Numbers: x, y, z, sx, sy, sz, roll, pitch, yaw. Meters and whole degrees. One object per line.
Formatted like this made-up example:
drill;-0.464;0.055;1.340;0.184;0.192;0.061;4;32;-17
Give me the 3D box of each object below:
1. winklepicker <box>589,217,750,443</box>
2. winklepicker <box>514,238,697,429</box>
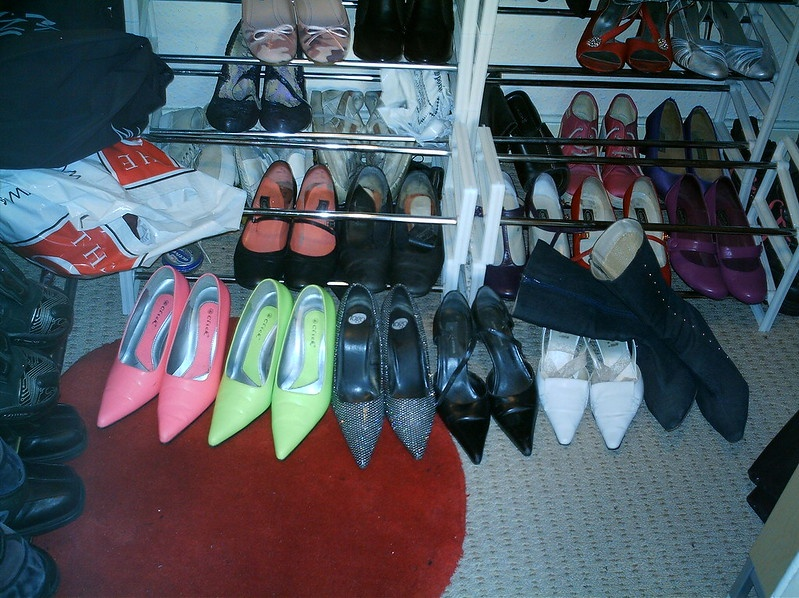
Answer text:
winklepicker;0.709;0.074;1.582;0.230;0.296;0.685;-32;81;15
winklepicker;0.538;0.059;1.701;0.607;0.182;0.366;28;91;-4
